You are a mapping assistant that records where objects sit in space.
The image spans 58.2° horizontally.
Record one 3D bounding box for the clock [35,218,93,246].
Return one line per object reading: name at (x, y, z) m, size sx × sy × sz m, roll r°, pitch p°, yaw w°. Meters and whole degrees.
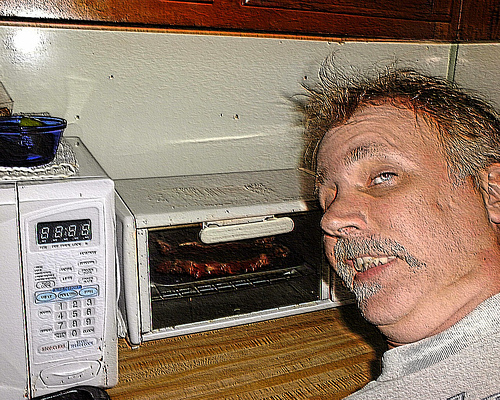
clock at (-0.327, 0.061, 0.806) m, size 0.158 × 0.054 × 0.016 m, roll -4°, pitch -4°, yaw 30°
